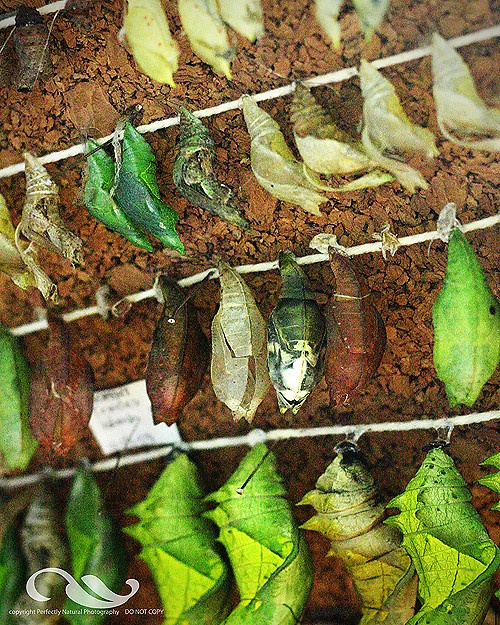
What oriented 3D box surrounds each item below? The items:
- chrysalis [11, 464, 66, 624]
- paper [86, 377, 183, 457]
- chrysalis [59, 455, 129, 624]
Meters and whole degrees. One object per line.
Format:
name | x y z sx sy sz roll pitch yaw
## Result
chrysalis | -0.609 0.701 2.003 0.110 0.094 0.350 18 61 -25
paper | -0.378 0.329 2.085 0.242 0.070 0.245 -10 95 15
chrysalis | -0.483 0.652 1.984 0.142 0.134 0.420 -28 67 9
